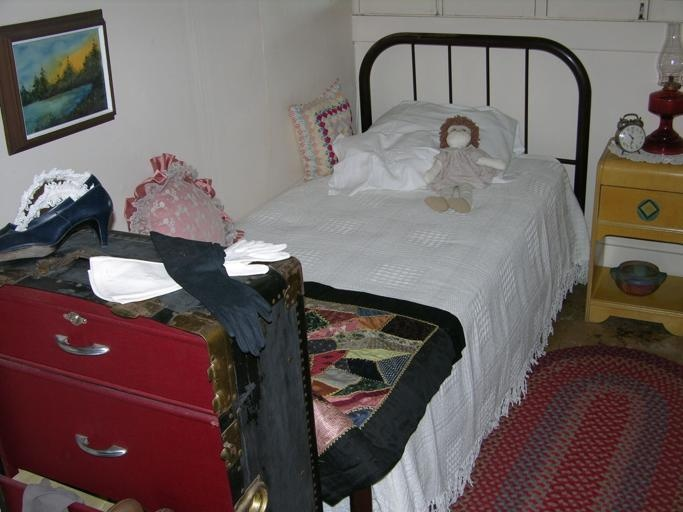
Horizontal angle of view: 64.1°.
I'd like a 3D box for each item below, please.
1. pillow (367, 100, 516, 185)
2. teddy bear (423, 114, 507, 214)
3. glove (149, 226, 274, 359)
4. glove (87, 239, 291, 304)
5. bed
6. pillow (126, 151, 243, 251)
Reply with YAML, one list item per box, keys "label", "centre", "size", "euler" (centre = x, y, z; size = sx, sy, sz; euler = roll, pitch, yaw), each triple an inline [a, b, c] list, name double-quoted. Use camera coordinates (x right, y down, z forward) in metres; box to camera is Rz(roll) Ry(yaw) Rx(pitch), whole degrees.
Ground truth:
- label: "pillow"
  centre: [0.527, -0.664, 3.147]
  size: [0.630, 0.156, 0.611]
  euler: [3, 40, 13]
- label: "teddy bear"
  centre: [0.630, -0.521, 3.054]
  size: [0.442, 0.597, 0.164]
  euler: [-4, -21, 25]
- label: "glove"
  centre: [-0.329, 0.040, 1.336]
  size: [0.155, 0.107, 0.462]
  euler: [-19, 38, -32]
- label: "glove"
  centre: [-0.341, 0.079, 1.366]
  size: [0.517, 0.048, 0.189]
  euler: [-6, 29, -4]
- label: "bed"
  centre: [0.364, -0.035, 2.801]
  size: [1.382, 1.648, 2.502]
  euler: [9, 38, 19]
- label: "pillow"
  centre: [-0.642, -0.207, 2.196]
  size: [0.120, 0.422, 0.382]
  euler: [-24, -6, 28]
